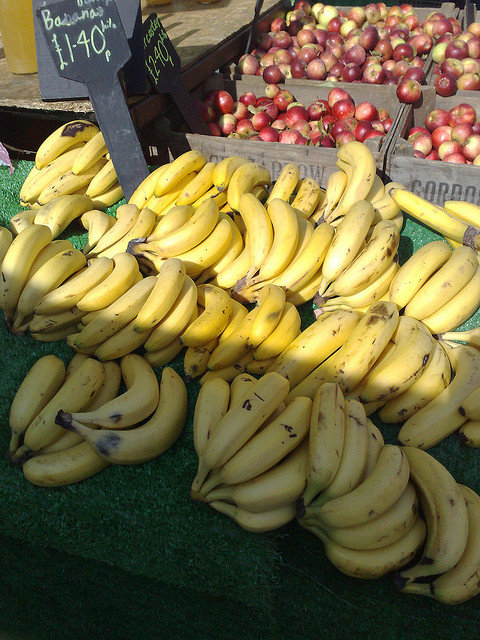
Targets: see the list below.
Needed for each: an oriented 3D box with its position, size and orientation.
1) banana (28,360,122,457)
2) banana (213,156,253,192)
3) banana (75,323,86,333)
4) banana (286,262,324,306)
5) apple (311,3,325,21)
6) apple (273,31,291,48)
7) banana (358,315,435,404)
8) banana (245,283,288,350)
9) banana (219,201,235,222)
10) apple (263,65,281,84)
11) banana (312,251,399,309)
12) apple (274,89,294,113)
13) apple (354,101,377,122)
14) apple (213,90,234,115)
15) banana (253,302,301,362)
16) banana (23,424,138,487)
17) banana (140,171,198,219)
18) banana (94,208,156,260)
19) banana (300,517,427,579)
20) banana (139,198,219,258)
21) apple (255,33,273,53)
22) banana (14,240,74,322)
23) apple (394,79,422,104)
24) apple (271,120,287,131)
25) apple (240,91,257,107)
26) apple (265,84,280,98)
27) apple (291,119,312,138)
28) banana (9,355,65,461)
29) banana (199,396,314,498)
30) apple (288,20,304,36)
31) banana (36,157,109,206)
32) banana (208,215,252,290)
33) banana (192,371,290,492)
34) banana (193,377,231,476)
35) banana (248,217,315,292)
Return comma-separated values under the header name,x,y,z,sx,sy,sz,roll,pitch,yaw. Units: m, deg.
name,x,y,z,sx,sy,sz,roll,pitch,yaw
banana,-0.444,0.255,1.622,0.116,0.157,0.484,-8,14,-8
banana,-0.037,-0.631,2.317,0.073,0.086,0.265,-20,21,41
banana,-0.524,0.024,1.767,0.031,0.011,0.031,-22,70,37
banana,0.237,-0.128,1.990,0.089,0.249,0.057,-23,79,-42
apple,0.658,-2.664,4.732,0.144,0.136,0.167,8,24,17
apple,0.324,-2.100,4.141,0.126,0.120,0.127,25,26,4
banana,0.511,0.100,1.615,0.229,0.093,0.348,-13,39,44
banana,0.110,-0.007,1.734,0.114,0.054,0.203,22,67,36
banana,-0.055,-0.449,2.236,0.031,0.037,0.113,-16,49,-3
apple,0.213,-1.598,3.559,0.117,0.111,0.114,-9,27,6
banana,0.413,-0.108,1.840,0.251,0.059,0.136,-43,65,8
apple,0.290,-1.444,3.641,0.133,0.130,0.125,14,85,11
apple,0.756,-1.235,3.303,0.120,0.138,0.116,-10,53,-1
apple,-0.124,-1.397,3.556,0.139,0.133,0.155,-12,53,-16
banana,0.137,0.039,1.730,0.105,0.055,0.198,39,78,-9
banana,-0.479,0.407,1.552,0.095,0.344,0.113,0,95,19
banana,-0.289,-0.508,2.243,0.318,0.104,0.066,-39,65,7
banana,-0.432,-0.319,2.059,0.270,0.090,0.058,-43,83,16
banana,0.299,0.529,1.276,0.295,0.063,0.123,-8,44,7
banana,-0.193,-0.311,1.948,0.337,0.099,0.126,-34,47,-20
apple,0.187,-2.085,4.122,0.136,0.132,0.133,-14,24,-27
banana,-0.701,-0.174,1.985,0.099,0.122,0.353,13,80,-7
apple,1.001,-1.345,3.278,0.149,0.146,0.140,-4,88,-11
apple,0.262,-1.235,3.532,0.077,0.073,0.090,20,11,3
apple,0.064,-1.474,3.661,0.115,0.130,0.113,11,25,28
apple,0.225,-1.517,3.622,0.087,0.103,0.083,0,89,15
apple,0.393,-1.191,3.434,0.112,0.128,0.107,-2,53,-9
banana,-0.599,0.263,1.657,0.102,0.101,0.311,16,56,0
banana,0.048,0.330,1.371,0.275,0.094,0.071,-39,44,-12
apple,0.441,-2.310,4.352,0.139,0.132,0.126,-14,22,-23
banana,-0.771,-0.630,2.496,0.360,0.116,0.075,-40,92,-5
banana,-0.025,-0.213,1.982,0.122,0.078,0.345,3,57,15
banana,-0.009,0.287,1.415,0.113,0.107,0.432,24,48,26
banana,-0.075,0.286,1.476,0.081,0.073,0.241,-10,51,38
banana,0.141,-0.221,1.915,0.102,0.076,0.321,43,54,-5
